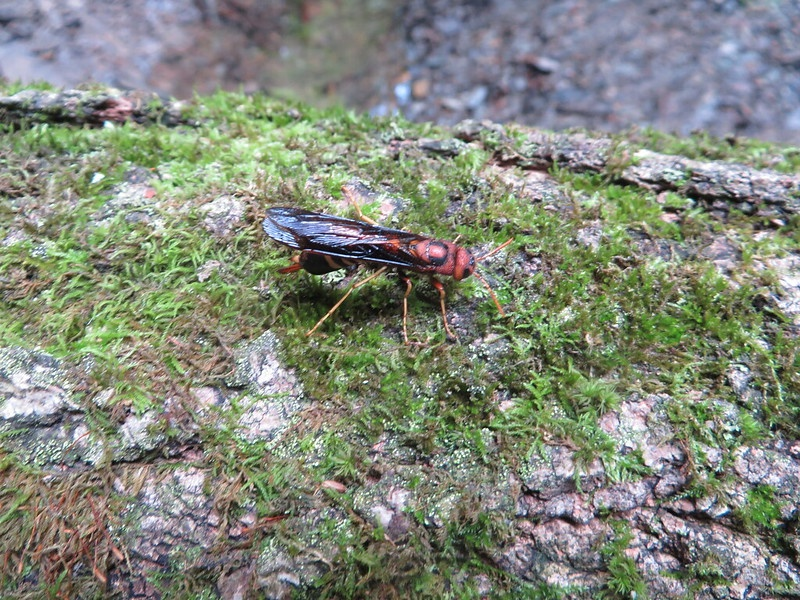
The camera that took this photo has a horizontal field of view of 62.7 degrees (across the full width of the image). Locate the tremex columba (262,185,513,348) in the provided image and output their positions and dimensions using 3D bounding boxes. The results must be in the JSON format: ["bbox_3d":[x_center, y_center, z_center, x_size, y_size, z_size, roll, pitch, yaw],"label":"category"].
[{"bbox_3d":[-0.254,-0.260,5.343,1.534,0.456,1.191,10,44,-12],"label":"tremex columba"}]
